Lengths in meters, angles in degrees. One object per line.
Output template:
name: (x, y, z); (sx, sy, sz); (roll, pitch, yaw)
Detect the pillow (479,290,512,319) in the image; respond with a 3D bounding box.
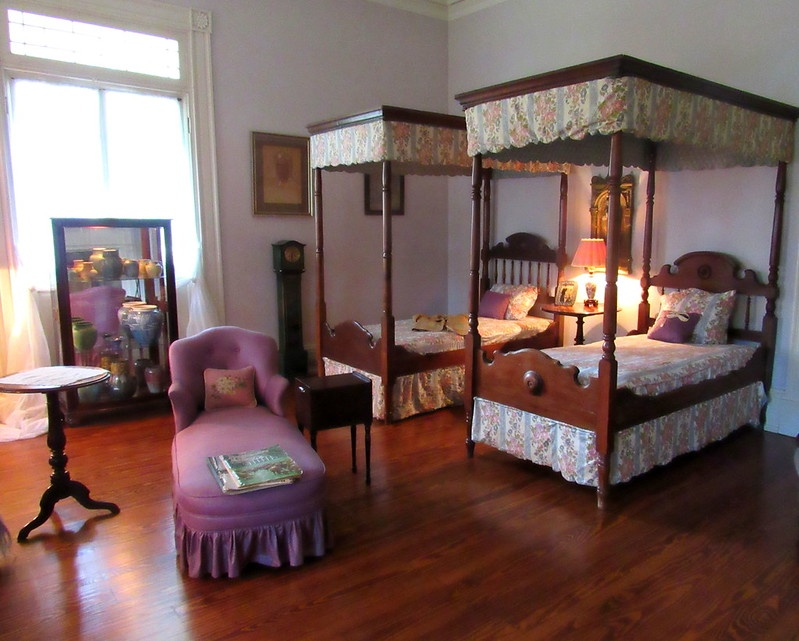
pillow: (1.042, -0.162, 6.874); (0.091, 0.308, 0.313); (20, -1, -35)

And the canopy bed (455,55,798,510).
canopy bed: (1.856, -0.367, 5.051); (2.694, 2.823, 1.351); (-10, 12, -35)

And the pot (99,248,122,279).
pot: (-2.506, -0.492, 5.620); (0.194, 0.309, 0.207); (1, 6, 0)

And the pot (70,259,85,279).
pot: (-2.762, -0.426, 5.439); (0.120, 0.178, 0.122); (-1, 8, 0)

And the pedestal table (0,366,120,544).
pedestal table: (-2.147, 0.810, 4.035); (0.613, 0.956, 0.532); (-8, 11, -28)

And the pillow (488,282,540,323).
pillow: (1.278, -0.184, 6.765); (0.113, 0.397, 0.379); (28, 0, -36)

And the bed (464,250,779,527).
bed: (1.899, 0.316, 5.264); (2.491, 1.537, 1.401); (-4, 8, -34)

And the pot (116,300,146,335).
pot: (-2.450, -0.012, 5.665); (0.231, 0.302, 0.243); (1, 5, 0)

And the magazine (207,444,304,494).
magazine: (-0.837, 0.866, 3.654); (0.497, 0.117, 0.386); (-7, 10, -22)

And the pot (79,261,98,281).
pot: (-2.707, -0.419, 5.486); (0.125, 0.134, 0.130); (2, 13, 0)

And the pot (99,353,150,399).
pot: (-2.475, 0.487, 5.806); (0.391, 0.535, 0.411); (0, 6, 0)

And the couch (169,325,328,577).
couch: (-1.078, 0.765, 4.138); (0.876, 1.147, 1.606); (-5, 13, -25)

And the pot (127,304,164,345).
pot: (-2.299, 0.054, 5.737); (0.300, 0.357, 0.311); (0, 1, 0)

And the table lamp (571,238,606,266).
table lamp: (1.877, -0.656, 6.243); (0.286, 0.311, 0.304); (2, 11, 14)

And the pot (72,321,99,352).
pot: (-2.733, 0.146, 5.480); (0.199, 0.261, 0.198); (2, 9, 0)

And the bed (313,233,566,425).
bed: (0.368, -0.081, 6.695); (2.290, 1.856, 1.494); (-6, 9, -36)

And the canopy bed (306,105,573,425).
canopy bed: (0.315, -0.654, 6.387); (2.140, 2.722, 1.528); (-5, 9, -32)

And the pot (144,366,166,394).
pot: (-2.247, 0.536, 5.885); (0.206, 0.301, 0.211); (1, 8, 0)

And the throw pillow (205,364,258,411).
throw pillow: (-1.206, 0.489, 4.472); (0.269, 0.261, 0.105); (-3, -2, -10)

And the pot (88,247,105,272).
pot: (-2.640, -0.538, 5.516); (0.153, 0.213, 0.161); (3, 3, 0)

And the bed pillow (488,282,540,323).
bed pillow: (1.266, -0.201, 6.745); (0.113, 0.397, 0.379); (28, 0, -36)
